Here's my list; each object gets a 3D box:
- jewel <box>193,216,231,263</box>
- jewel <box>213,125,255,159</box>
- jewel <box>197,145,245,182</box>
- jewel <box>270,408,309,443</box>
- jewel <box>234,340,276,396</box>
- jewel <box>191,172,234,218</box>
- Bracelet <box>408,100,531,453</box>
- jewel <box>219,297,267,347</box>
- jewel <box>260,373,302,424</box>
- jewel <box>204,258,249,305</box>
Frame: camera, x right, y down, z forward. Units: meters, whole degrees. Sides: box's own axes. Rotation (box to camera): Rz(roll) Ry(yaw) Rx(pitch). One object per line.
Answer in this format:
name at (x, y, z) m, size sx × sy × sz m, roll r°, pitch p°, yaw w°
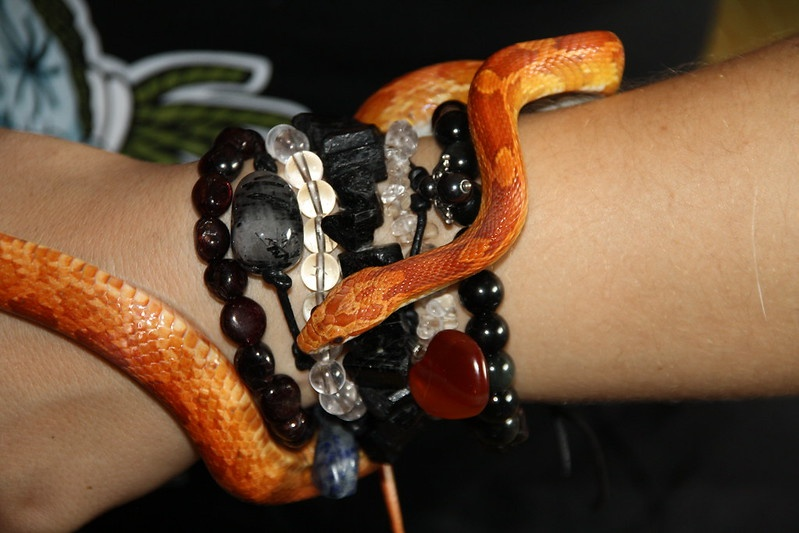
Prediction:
jewel at (-0.581, -0.083, 2.531) m, size 0.099 × 0.138 × 0.074 m, roll -6°, pitch 3°, yaw -8°
jewel at (-0.534, -0.398, 2.649) m, size 0.095 × 0.056 × 0.121 m, roll 20°, pitch 15°, yaw 22°
jewel at (-0.571, -0.327, 2.618) m, size 0.122 × 0.071 × 0.101 m, roll -15°, pitch 57°, yaw 5°
jewel at (-0.342, 0.506, 2.612) m, size 0.114 × 0.098 × 0.060 m, roll 4°, pitch 35°, yaw 23°
jewel at (-0.447, 0.309, 2.486) m, size 0.112 × 0.150 × 0.080 m, roll -4°, pitch 1°, yaw 0°
jewel at (-0.595, -0.238, 2.616) m, size 0.160 × 0.094 × 0.164 m, roll -17°, pitch 4°, yaw -33°
Bracelet at (0.161, 0.004, 2.630) m, size 0.216 × 1.246 × 0.252 m, roll -9°, pitch -14°, yaw -2°
jewel at (-0.486, 0.168, 2.597) m, size 0.171 × 0.089 × 0.174 m, roll -14°, pitch -4°, yaw -41°
jewel at (-0.368, 0.428, 2.596) m, size 0.075 × 0.153 × 0.146 m, roll 31°, pitch 37°, yaw -23°
jewel at (-0.539, 0.043, 2.534) m, size 0.103 × 0.116 × 0.141 m, roll -7°, pitch 0°, yaw 0°
